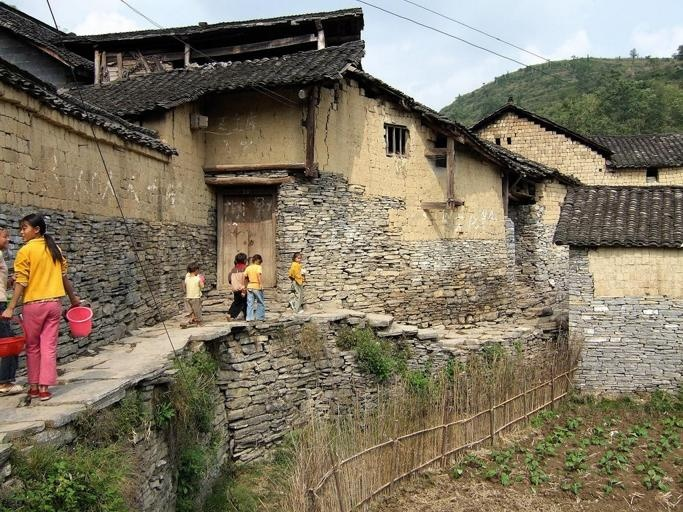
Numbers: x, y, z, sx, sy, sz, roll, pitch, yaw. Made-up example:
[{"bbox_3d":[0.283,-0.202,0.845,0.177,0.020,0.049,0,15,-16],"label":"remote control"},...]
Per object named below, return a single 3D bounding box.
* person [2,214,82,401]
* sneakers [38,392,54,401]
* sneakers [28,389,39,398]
[{"bbox_3d":[-3.877,0.641,7.552,0.762,2.499,0.379,-3,1,-30],"label":"person"},{"bbox_3d":[-3.759,1.775,7.444,0.069,0.074,0.181,-1,-12,-8],"label":"sneakers"},{"bbox_3d":[-3.928,1.740,7.471,0.162,0.124,0.089,-2,1,16],"label":"sneakers"}]
